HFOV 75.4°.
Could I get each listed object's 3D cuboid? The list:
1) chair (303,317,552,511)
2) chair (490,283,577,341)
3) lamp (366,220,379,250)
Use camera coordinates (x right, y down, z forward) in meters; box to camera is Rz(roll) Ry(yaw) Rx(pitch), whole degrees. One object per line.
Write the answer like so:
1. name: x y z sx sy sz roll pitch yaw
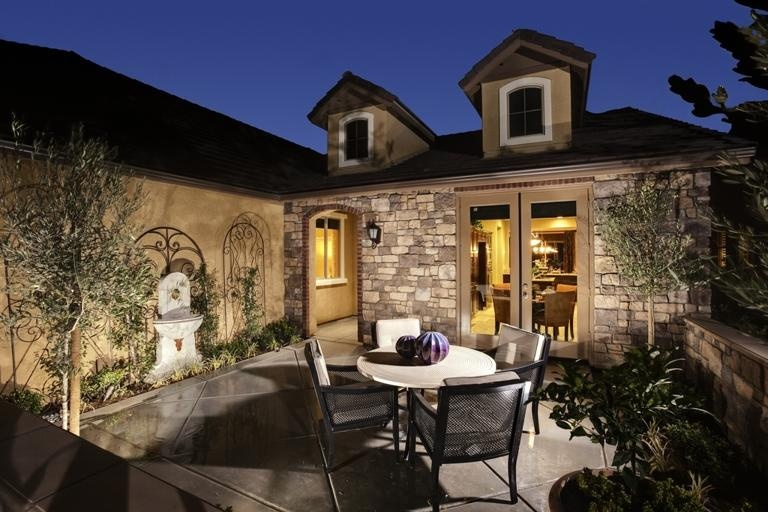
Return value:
1. chair: 1.219 2.423 8.406 2.438 1.546 2.508 -1 -3 32
2. chair: 3.239 1.142 10.690 1.278 1.485 1.181 0 0 -45
3. lamp: -0.275 -0.522 11.669 0.415 0.634 0.229 -2 -3 17
